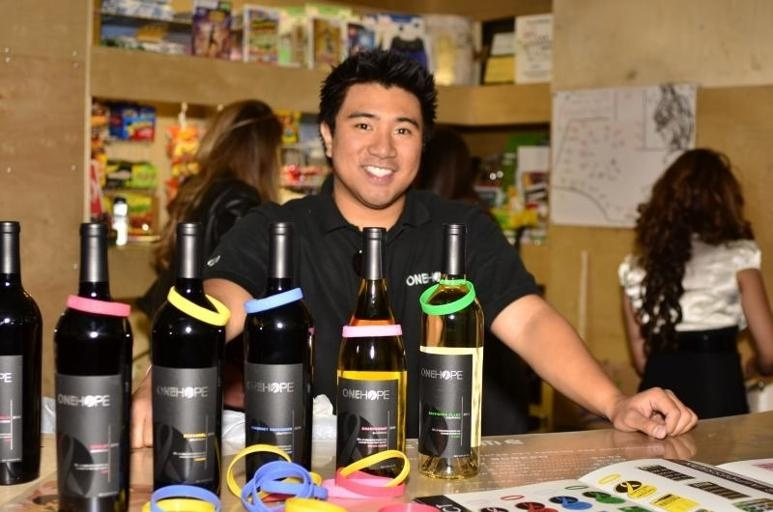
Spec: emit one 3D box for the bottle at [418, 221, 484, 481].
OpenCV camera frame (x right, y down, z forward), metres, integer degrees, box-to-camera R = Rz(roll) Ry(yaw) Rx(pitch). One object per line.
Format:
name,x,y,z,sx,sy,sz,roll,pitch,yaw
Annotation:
bottle,0.138,0.192,1.572,0.140,0.530,0.199,4,12,7

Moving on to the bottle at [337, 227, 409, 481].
bottle,-0.027,0.184,1.530,0.146,0.496,0.205,2,12,0

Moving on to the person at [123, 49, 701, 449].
person,0.119,-0.065,2.470,1.747,1.415,0.881,1,-9,-5

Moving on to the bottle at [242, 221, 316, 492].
bottle,-0.215,0.198,1.477,0.139,0.531,0.162,1,12,-7
